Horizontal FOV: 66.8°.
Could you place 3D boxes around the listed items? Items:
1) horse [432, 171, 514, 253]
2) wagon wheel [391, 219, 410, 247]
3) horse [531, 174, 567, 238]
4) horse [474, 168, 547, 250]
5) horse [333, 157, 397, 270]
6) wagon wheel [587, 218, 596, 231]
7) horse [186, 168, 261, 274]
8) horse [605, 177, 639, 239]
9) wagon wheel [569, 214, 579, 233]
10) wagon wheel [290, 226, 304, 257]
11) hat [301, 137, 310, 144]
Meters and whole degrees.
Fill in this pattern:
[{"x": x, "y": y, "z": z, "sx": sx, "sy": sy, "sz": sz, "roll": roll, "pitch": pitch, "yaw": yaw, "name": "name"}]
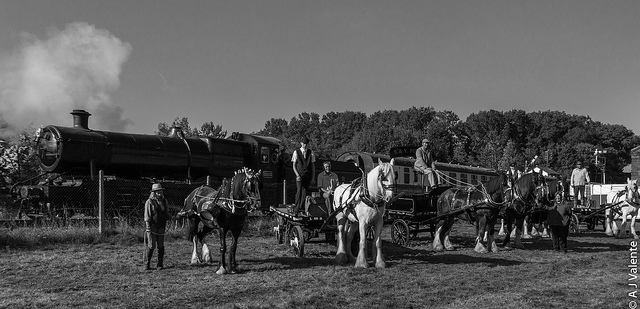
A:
[{"x": 8.434, "y": 3.336, "z": 26.722, "sx": 2.025, "sy": 4.006, "sz": 5.600, "roll": 12, "pitch": -14, "yaw": -34, "name": "horse"}, {"x": 4.588, "y": 4.398, "z": 27.431, "sx": 0.579, "sy": 1.596, "sz": 1.733, "roll": -4, "pitch": 2, "yaw": -32, "name": "wagon wheel"}, {"x": 14.177, "y": 3.666, "z": 31.236, "sx": 1.397, "sy": 3.520, "sz": 5.011, "roll": 2, "pitch": -17, "yaw": 20, "name": "horse"}, {"x": 10.908, "y": 3.081, "z": 26.413, "sx": 2.000, "sy": 4.606, "sz": 1.437, "roll": -1, "pitch": 11, "yaw": -6, "name": "horse"}, {"x": 2.033, "y": 2.894, "z": 23.195, "sx": 3.013, "sy": 5.186, "sz": 1.391, "roll": 10, "pitch": 14, "yaw": 41, "name": "horse"}, {"x": 20.000, "y": 5.110, "z": 35.561, "sx": 0.337, "sy": 0.812, "sz": 0.865, "roll": 7, "pitch": -18, "yaw": 8, "name": "wagon wheel"}, {"x": -4.533, "y": 2.975, "z": 22.696, "sx": 3.950, "sy": 4.836, "sz": 1.502, "roll": 8, "pitch": 13, "yaw": 35, "name": "horse"}, {"x": 20.188, "y": 3.623, "z": 32.075, "sx": 1.723, "sy": 4.217, "sz": 2.956, "roll": 4, "pitch": 11, "yaw": 18, "name": "horse"}, {"x": 17.479, "y": 4.709, "z": 33.211, "sx": 0.431, "sy": 1.727, "sz": 2.000, "roll": 7, "pitch": 12, "yaw": 30, "name": "wagon wheel"}, {"x": -1.153, "y": 4.425, "z": 24.717, "sx": 0.597, "sy": 1.630, "sz": 1.750, "roll": 0, "pitch": 1, "yaw": -19, "name": "wagon wheel"}, {"x": -0.804, "y": -0.746, "z": 25.359, "sx": 0.288, "sy": 0.334, "sz": 0.443, "roll": 2, "pitch": 10, "yaw": 7, "name": "hat"}]
